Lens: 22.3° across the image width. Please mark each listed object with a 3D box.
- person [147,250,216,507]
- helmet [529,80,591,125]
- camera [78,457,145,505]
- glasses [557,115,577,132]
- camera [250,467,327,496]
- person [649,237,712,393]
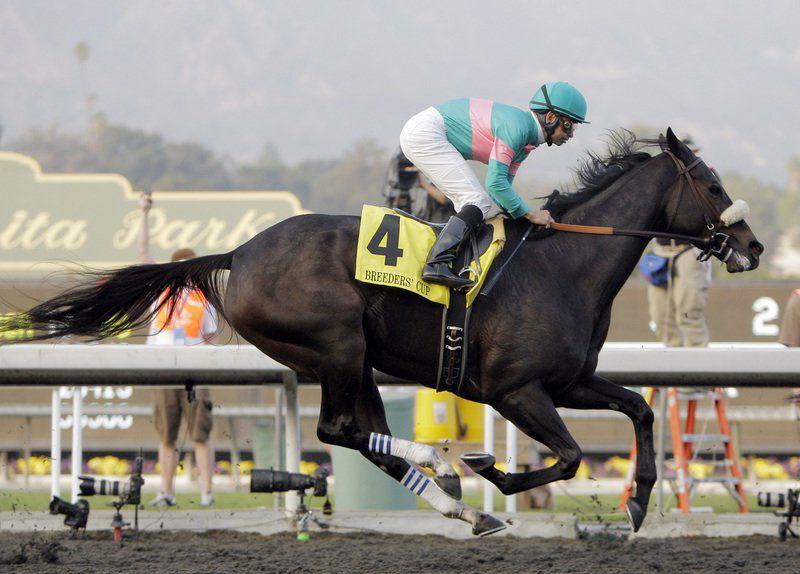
[{"bbox_3d":[-2.118,0.875,19.744,0.751,2.386,0.616,-2,9,-28],"label":"person"},{"bbox_3d":[1.491,-1.672,18.309,0.654,0.309,0.490,15,10,18],"label":"helmet"},{"bbox_3d":[-2.709,1.797,18.921,0.642,0.411,0.329,0,5,-13],"label":"camera"},{"bbox_3d":[1.525,-1.452,18.182,0.121,0.079,0.159,21,-1,-37],"label":"glasses"},{"bbox_3d":[-1.025,1.805,18.922,0.711,0.267,0.252,5,-35,-12],"label":"camera"},{"bbox_3d":[2.871,0.311,20.916,0.608,1.623,0.655,2,11,7],"label":"person"}]
